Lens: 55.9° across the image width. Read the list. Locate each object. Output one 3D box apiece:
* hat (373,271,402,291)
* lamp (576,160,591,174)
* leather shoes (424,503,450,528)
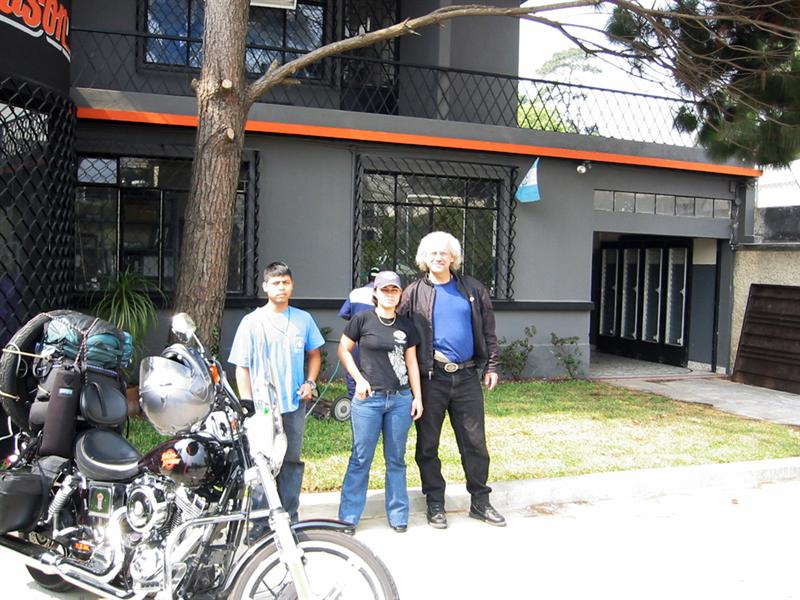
[{"bbox_3d":[-0.114,-0.169,6.433,0.216,0.155,0.290,3,7,-5],"label":"hat"},{"bbox_3d":[3.217,-2.281,13.054,0.368,0.235,0.214,0,7,-22],"label":"lamp"},{"bbox_3d":[0.334,1.919,6.690,0.191,0.176,0.150,3,6,5],"label":"leather shoes"}]
